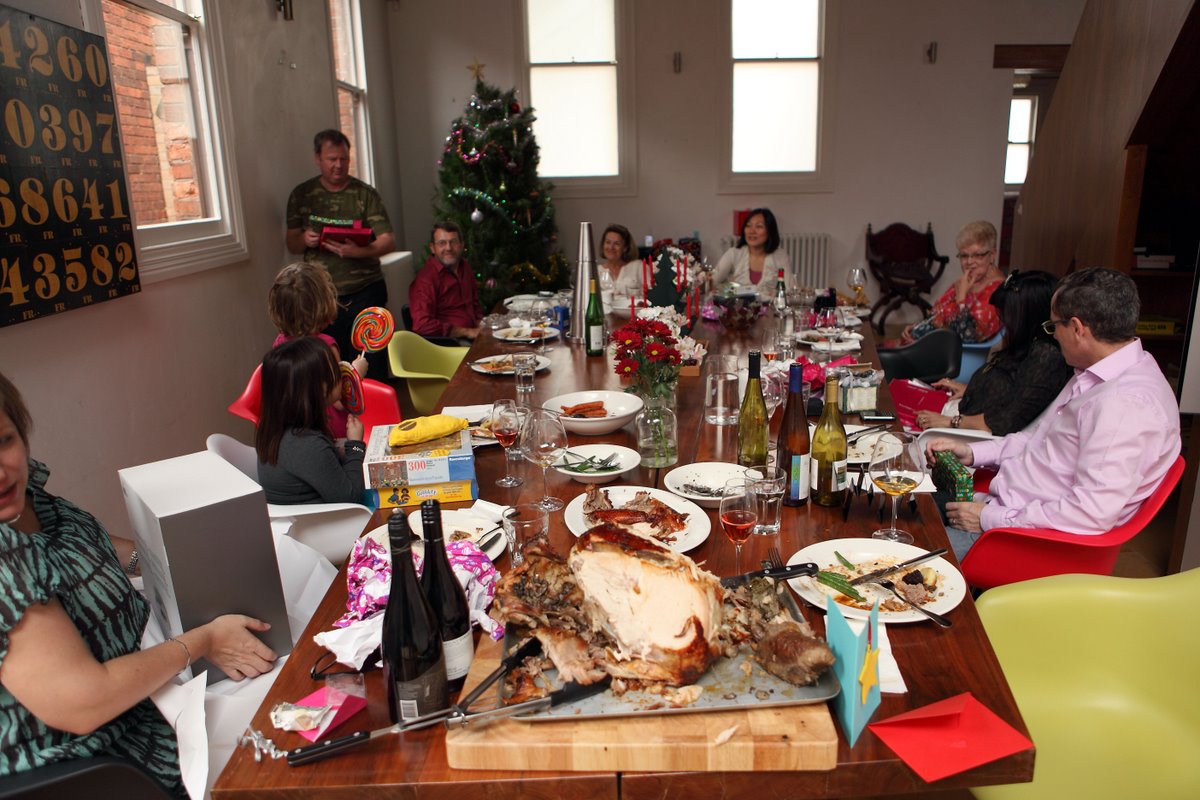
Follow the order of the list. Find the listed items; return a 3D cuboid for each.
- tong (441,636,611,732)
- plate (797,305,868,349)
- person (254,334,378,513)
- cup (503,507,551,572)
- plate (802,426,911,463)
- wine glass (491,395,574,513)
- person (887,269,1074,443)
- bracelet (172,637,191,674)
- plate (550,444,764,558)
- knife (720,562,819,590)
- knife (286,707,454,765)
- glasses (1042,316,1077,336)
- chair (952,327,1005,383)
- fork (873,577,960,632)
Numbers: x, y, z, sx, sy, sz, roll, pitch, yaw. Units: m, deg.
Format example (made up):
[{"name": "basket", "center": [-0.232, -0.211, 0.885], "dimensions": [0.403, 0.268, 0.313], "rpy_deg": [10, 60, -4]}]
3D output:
[{"name": "tong", "center": [-0.148, 0.581, 1.671], "dimensions": [0.248, 0.055, 0.141], "rpy_deg": [-15, 40, -27]}, {"name": "plate", "center": [1.186, -0.339, 4.161], "dimensions": [0.310, 0.073, 0.355], "rpy_deg": [-10, 31, 8]}, {"name": "person", "center": [-1.053, 0.104, 2.943], "dimensions": [0.328, 0.839, 0.312], "rpy_deg": [25, 39, 31]}, {"name": "cup", "center": [-0.188, 0.349, 2.003], "dimensions": [0.139, 0.169, 0.146], "rpy_deg": [-1, 7, 0]}, {"name": "plate", "center": [0.890, 0.148, 2.614], "dimensions": [0.189, 0.028, 0.189], "rpy_deg": [-18, 23, -39]}, {"name": "wine glass", "center": [-0.208, 0.173, 2.517], "dimensions": [0.175, 0.166, 0.390], "rpy_deg": [-2, 30, -8]}, {"name": "person", "center": [1.650, -0.189, 3.570], "dimensions": [0.649, 0.877, 0.771], "rpy_deg": [9, 27, 25]}, {"name": "bracelet", "center": [-1.089, 0.663, 2.078], "dimensions": [0.020, 0.081, 0.063], "rpy_deg": [-3, -12, -34]}, {"name": "plate", "center": [0.119, 0.307, 2.360], "dimensions": [0.396, 0.074, 0.301], "rpy_deg": [13, 31, 11]}, {"name": "knife", "center": [0.429, 0.443, 2.004], "dimensions": [0.364, 0.027, 0.051], "rpy_deg": [4, 1, -44]}, {"name": "knife", "center": [-0.495, 0.727, 1.723], "dimensions": [0.312, 0.035, 0.075], "rpy_deg": [-8, 16, -18]}, {"name": "glasses", "center": [1.614, -0.260, 2.833], "dimensions": [0.089, 0.031, 0.092], "rpy_deg": [-3, 14, -5]}, {"name": "chair", "center": [2.125, -0.242, 4.564], "dimensions": [0.275, 0.297, 0.322], "rpy_deg": [-1, 13, 8]}, {"name": "fork", "center": [0.774, 0.502, 1.987], "dimensions": [0.049, 0.013, 0.276], "rpy_deg": [-35, 27, -11]}]
